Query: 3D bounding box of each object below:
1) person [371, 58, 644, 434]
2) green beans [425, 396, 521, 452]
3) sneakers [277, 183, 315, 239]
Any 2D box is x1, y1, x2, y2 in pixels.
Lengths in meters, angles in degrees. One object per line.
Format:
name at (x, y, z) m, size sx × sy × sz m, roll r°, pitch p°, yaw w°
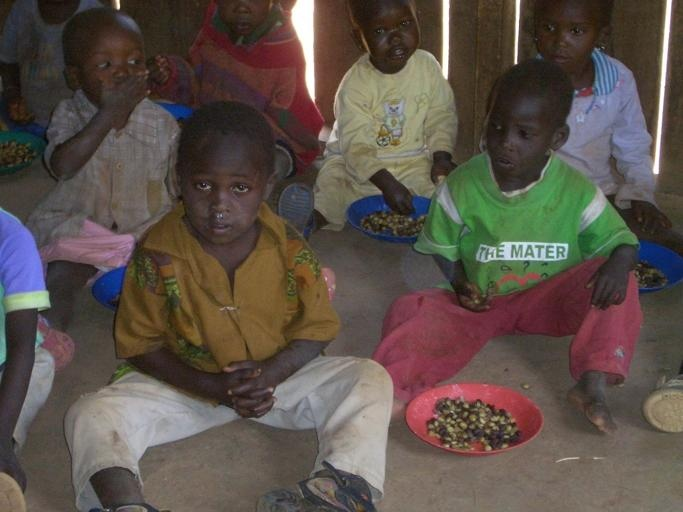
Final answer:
person at (0.817, -0.134, 3.286) m, size 1.158 × 1.412 × 0.933 m, roll 7°, pitch 24°, yaw 21°
green beans at (0.551, 0.713, 2.999) m, size 0.247 × 0.039 × 0.219 m, roll 23°, pitch 39°, yaw 35°
sneakers at (-0.283, -0.272, 4.573) m, size 0.214 × 0.362 × 0.154 m, roll -3°, pitch -8°, yaw -5°
